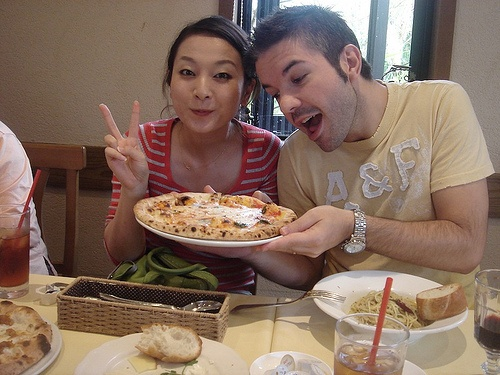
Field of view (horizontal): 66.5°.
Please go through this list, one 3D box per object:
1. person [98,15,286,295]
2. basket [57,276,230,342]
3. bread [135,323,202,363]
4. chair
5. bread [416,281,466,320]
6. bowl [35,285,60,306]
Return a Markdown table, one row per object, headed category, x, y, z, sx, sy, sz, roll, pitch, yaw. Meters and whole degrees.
| category | x | y | z | sx | sy | sz | roll | pitch | yaw |
| --- | --- | --- | --- | --- | --- | --- | --- | --- | --- |
| person | -0.370 | -0.229 | 2.623 | 1.038 | 1.957 | 0.976 | 1 | 7 | -9 |
| basket | -0.426 | 0.497 | 1.536 | 0.639 | 0.150 | 0.255 | 7 | 3 | 1 |
| bread | -0.282 | 0.539 | 1.334 | 0.170 | 0.050 | 0.116 | 11 | 26 | -6 |
| chair | -1.329 | 0.124 | 2.653 | 0.397 | 0.913 | 0.416 | 0 | 13 | -16 |
| bread | 0.744 | 0.450 | 1.485 | 0.164 | 0.090 | 0.158 | -15 | 1 | 15 |
| bowl | -0.861 | 0.462 | 1.624 | 0.068 | 0.048 | 0.080 | 5 | 8 | 3 |
